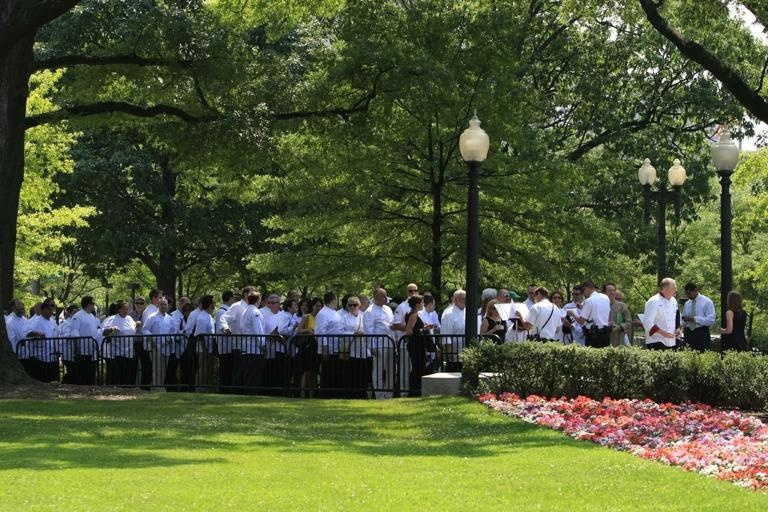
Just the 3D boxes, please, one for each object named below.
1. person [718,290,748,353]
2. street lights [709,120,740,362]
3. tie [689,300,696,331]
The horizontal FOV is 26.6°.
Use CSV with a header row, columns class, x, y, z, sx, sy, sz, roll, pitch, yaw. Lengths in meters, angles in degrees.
class,x,y,z,sx,sy,sz,roll,pitch,yaw
person,9.177,1.747,42.726,0.647,1.614,0.764,-2,-10,11
street lights,9.404,-0.502,44.437,1.031,5.785,0.972,1,5,36
tie,8.341,1.604,43.941,0.156,0.817,0.243,-2,-10,10
